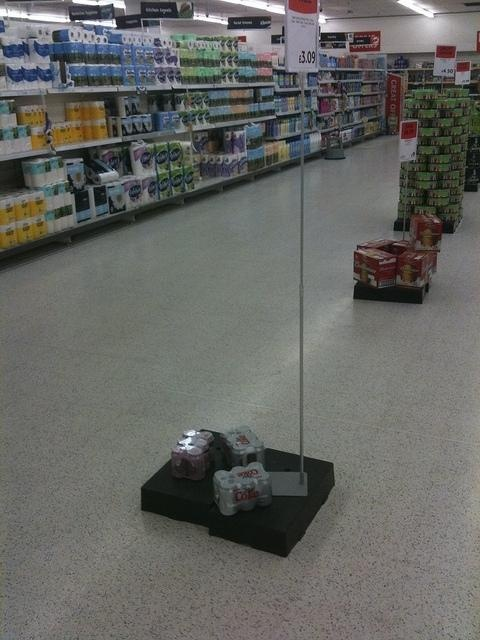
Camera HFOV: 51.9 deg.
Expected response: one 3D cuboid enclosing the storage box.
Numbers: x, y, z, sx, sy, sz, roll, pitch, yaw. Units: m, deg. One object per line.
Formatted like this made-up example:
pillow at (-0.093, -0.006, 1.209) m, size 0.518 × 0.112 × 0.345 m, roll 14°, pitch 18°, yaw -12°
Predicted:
storage box at (1.319, -0.530, 3.913) m, size 0.579 × 0.511 × 0.760 m, roll 23°, pitch 35°, yaw 36°
